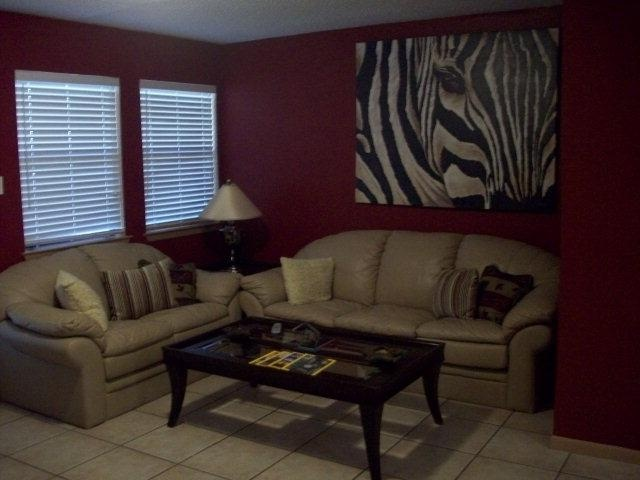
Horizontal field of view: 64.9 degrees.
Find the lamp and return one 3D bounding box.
[{"bbox_3d":[-0.992,-0.143,5.493,0.737,0.975,0.744,-8,11,-40],"label":"lamp"}]

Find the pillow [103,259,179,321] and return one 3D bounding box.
[{"bbox_3d":[-1.581,0.454,4.417,0.181,0.322,0.505,-13,-4,41],"label":"pillow"}]

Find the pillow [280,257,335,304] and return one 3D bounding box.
[{"bbox_3d":[-0.135,0.404,4.818,0.444,0.326,0.159,0,-13,-25],"label":"pillow"}]

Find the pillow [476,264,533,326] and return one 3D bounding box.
[{"bbox_3d":[1.499,0.448,4.180,0.408,0.382,0.480,6,12,31],"label":"pillow"}]

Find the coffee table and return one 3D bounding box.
[{"bbox_3d":[-0.086,0.999,3.640,1.723,0.698,0.984,4,12,27],"label":"coffee table"}]
